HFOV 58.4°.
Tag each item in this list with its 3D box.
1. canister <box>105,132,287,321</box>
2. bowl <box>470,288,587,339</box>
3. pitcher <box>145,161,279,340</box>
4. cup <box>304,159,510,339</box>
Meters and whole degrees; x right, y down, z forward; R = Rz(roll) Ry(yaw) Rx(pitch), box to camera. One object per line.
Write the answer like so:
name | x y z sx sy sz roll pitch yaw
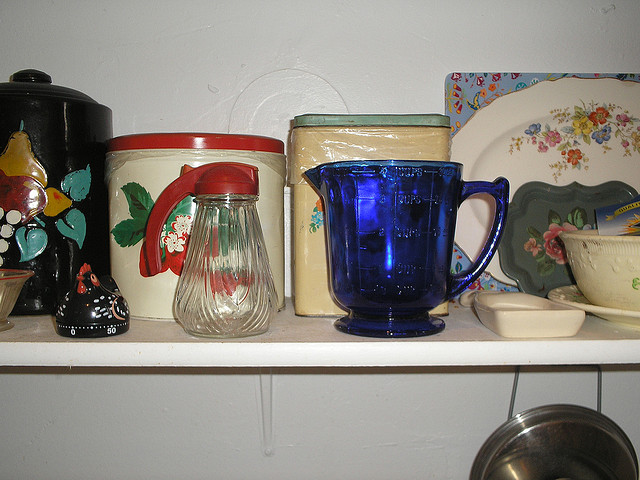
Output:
canister | -0.172 -0.055 0.869 0.254 0.258 0.187 2 15 2
bowl | 0.275 0.099 0.772 0.123 0.048 0.101 -1 4 1
pitcher | -0.152 0.019 0.761 0.192 0.271 0.141 0 7 -8
cup | 0.104 0.011 0.806 0.311 0.283 0.212 0 3 -2
